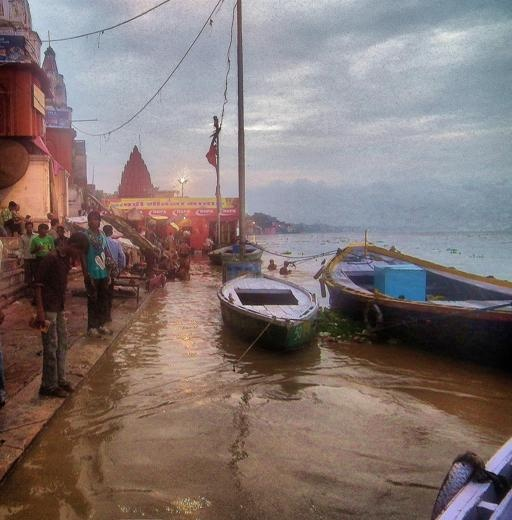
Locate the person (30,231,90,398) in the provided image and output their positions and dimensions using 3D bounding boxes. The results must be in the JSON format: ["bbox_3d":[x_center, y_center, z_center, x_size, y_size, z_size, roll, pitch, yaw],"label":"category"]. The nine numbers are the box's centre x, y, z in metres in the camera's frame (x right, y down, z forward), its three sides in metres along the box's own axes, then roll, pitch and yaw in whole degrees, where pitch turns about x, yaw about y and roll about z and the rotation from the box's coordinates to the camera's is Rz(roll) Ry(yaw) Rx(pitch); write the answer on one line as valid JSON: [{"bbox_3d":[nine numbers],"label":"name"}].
[{"bbox_3d":[-2.178,0.608,4.980,0.446,1.811,0.583,6,6,43],"label":"person"}]

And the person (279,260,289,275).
[{"bbox_3d":[1.487,0.393,24.041,0.405,0.454,0.782,-2,16,3],"label":"person"}]

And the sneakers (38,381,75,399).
[{"bbox_3d":[-2.214,1.446,5.065,0.256,0.115,0.155,-4,14,-16],"label":"sneakers"}]
